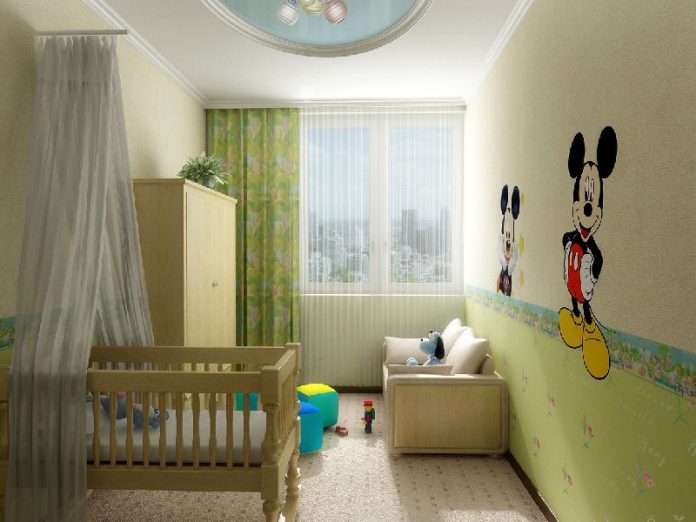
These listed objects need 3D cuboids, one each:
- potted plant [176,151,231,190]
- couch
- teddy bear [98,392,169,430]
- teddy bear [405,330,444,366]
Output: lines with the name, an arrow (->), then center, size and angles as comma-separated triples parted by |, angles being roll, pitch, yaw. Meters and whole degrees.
potted plant -> -1.217, -0.748, 4.587 | 0.455, 0.387, 0.473 | 3, -2, -29
couch -> 0.728, 1.018, 4.405 | 0.914, 0.843, 1.064 | -1, 6, -4
teddy bear -> -1.268, 0.814, 3.135 | 0.338, 0.145, 0.243 | 17, -7, -2
teddy bear -> 0.666, 0.796, 4.553 | 0.286, 0.380, 0.211 | 3, 2, 1
